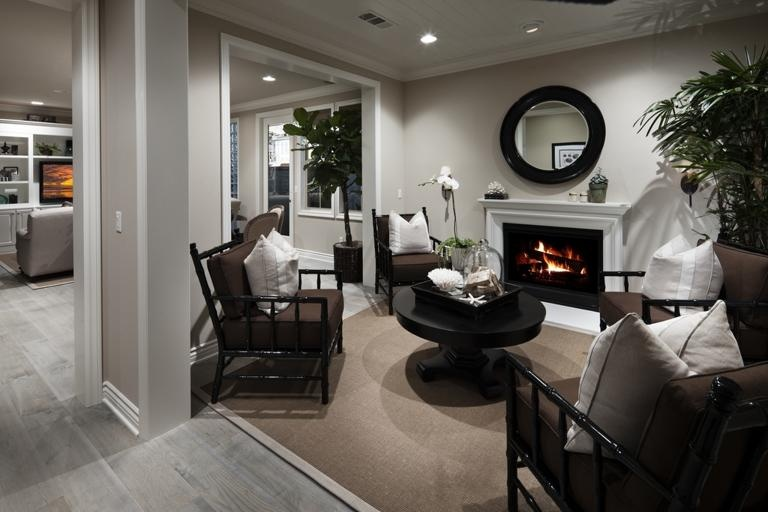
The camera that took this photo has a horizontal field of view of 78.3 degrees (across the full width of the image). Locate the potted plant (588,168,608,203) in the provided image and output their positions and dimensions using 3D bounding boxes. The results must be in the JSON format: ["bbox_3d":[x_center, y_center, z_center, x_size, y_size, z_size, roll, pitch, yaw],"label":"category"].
[{"bbox_3d":[2.298,-0.716,5.092,0.192,0.343,0.184,4,11,25],"label":"potted plant"}]

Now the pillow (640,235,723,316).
[{"bbox_3d":[2.318,0.171,3.863,0.468,0.614,0.860,5,1,-8],"label":"pillow"}]

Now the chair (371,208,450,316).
[{"bbox_3d":[0.284,0.046,5.516,0.757,1.042,0.826,-3,13,-9],"label":"chair"}]

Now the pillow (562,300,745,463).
[{"bbox_3d":[1.240,0.550,2.254,0.323,0.784,0.771,21,-11,-21],"label":"pillow"}]

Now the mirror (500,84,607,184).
[{"bbox_3d":[1.944,-1.340,5.311,1.173,1.196,0.058,3,4,35],"label":"mirror"}]

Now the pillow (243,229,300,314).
[{"bbox_3d":[-0.896,0.121,3.878,0.352,0.593,0.633,-10,9,2],"label":"pillow"}]

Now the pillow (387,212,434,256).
[{"bbox_3d":[0.301,-0.230,5.580,0.534,0.522,0.315,-3,7,-16],"label":"pillow"}]

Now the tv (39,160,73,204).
[{"bbox_3d":[-6.199,-1.331,8.997,0.745,0.733,0.047,1,1,8],"label":"tv"}]

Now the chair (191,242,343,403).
[{"bbox_3d":[-0.950,0.468,4.091,1.108,1.192,1.488,0,4,-2],"label":"chair"}]

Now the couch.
[{"bbox_3d":[-4.589,-0.168,6.447,0.733,0.840,0.723,-5,13,-38],"label":"couch"}]

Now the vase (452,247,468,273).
[{"bbox_3d":[0.659,0.047,4.197,0.176,0.204,0.177,2,2,-7],"label":"vase"}]
